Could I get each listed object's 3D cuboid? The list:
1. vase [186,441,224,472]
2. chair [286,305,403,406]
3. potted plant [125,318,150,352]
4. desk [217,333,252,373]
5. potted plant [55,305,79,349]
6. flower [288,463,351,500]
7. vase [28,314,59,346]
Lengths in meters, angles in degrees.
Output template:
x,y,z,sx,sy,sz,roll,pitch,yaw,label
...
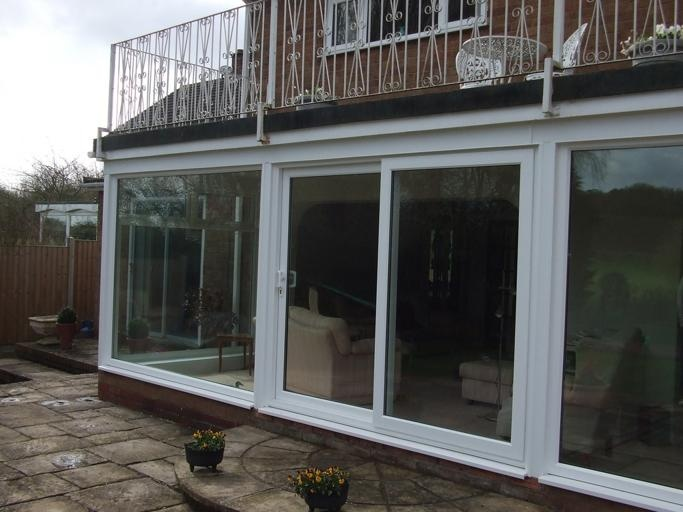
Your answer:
x,y,z,sx,sy,sz,roll,pitch,yaw,label
-1.245,1.816,5.988,0.259,0.178,0.265,0,-9,2,vase
-0.084,1.070,7.335,0.791,0.968,1.354,3,-4,-29,chair
-2.616,1.010,8.483,0.278,0.443,0.296,1,-5,-19,potted plant
-1.224,1.106,7.532,0.202,0.432,0.716,-7,8,-42,desk
-4.836,1.273,11.697,0.321,0.658,0.504,-5,6,-25,potted plant
-0.176,1.823,5.395,0.306,0.154,0.336,0,-2,12,flower
-5.261,1.302,12.004,0.584,0.453,0.544,-3,-6,38,vase
